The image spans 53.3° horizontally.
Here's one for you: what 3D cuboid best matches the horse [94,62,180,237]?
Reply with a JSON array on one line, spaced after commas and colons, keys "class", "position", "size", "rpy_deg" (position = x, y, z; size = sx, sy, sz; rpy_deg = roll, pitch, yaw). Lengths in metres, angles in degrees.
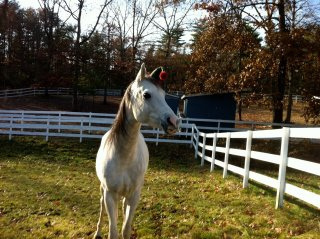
[{"class": "horse", "position": [-0.588, 0.802, 6.823], "size": [1.250, 3.976, 2.236], "rpy_deg": [1, 4, -24]}]
